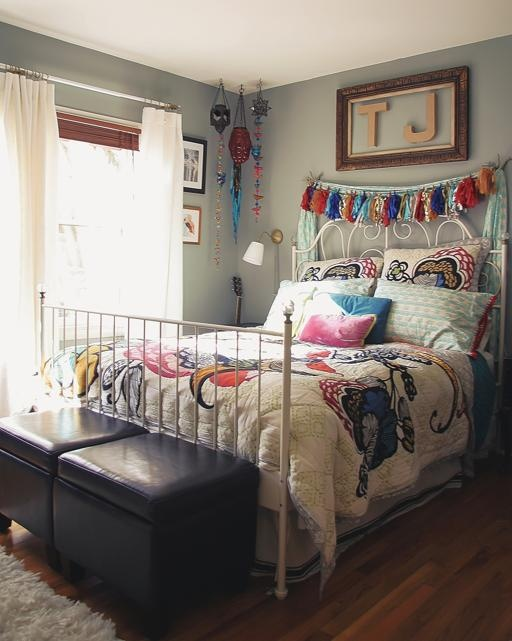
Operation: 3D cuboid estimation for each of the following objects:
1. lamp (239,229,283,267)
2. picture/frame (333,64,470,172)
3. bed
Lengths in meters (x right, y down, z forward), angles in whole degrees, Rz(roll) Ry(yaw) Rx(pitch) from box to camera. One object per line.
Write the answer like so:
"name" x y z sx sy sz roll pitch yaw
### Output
"lamp" 0.026 -0.576 4.070 0.210 0.309 0.354 20 9 39
"picture/frame" 0.883 -1.255 3.332 0.064 0.536 0.915 -22 24 -39
"bed" 0.297 0.262 2.495 1.464 1.119 1.800 5 5 41
